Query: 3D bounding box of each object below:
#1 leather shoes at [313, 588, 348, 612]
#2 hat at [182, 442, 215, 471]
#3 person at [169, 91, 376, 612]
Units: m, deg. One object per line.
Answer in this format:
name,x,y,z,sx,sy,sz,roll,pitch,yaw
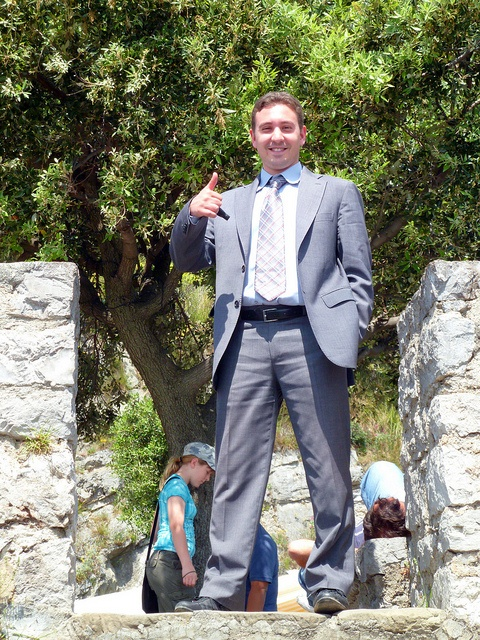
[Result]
leather shoes,0.331,1.019,3.339,0.127,0.083,0.160,0,7,4
hat,-0.211,0.748,5.018,0.182,0.089,0.122,26,-6,-12
person,0.150,0.081,3.596,0.811,1.988,0.956,-1,8,-4
